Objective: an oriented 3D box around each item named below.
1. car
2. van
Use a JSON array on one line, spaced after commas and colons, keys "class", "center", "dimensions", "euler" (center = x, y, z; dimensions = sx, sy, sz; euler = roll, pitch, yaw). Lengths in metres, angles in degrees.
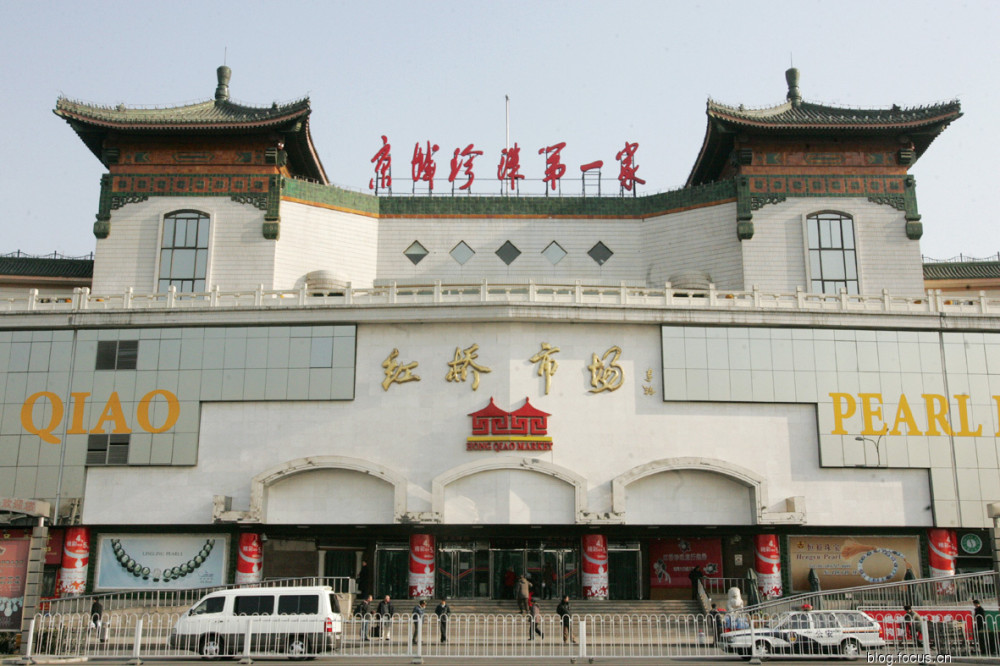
[{"class": "car", "center": [11.526, 11.390, 48.105], "dimensions": [5.402, 1.478, 2.243], "euler": [0, -18, 1]}, {"class": "van", "center": [-9.098, 10.967, 48.600], "dimensions": [6.479, 2.352, 2.442], "euler": [-1, -27, 4]}]
